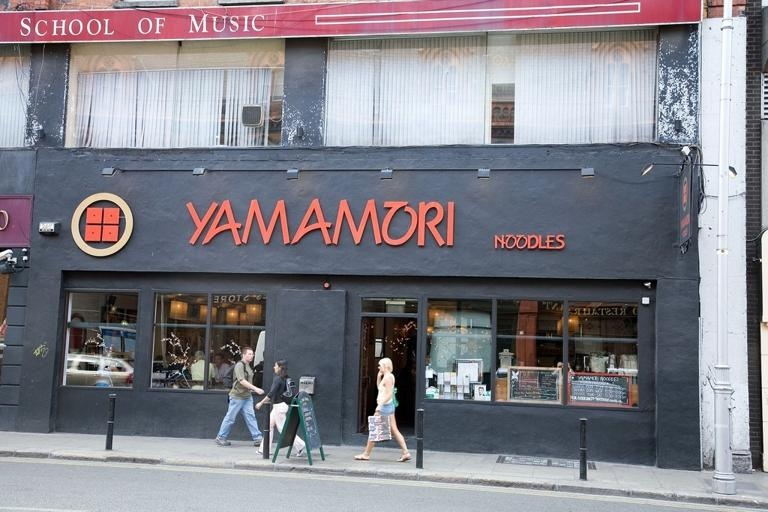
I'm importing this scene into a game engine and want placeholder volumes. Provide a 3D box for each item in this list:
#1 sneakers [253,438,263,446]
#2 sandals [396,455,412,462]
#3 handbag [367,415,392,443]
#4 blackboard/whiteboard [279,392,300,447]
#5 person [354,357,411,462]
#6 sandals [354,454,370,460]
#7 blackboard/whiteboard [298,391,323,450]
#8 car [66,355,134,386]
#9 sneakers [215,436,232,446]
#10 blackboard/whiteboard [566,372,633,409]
[{"bbox_3d":[-3.146,4.620,23.575,0.170,0.195,0.462,2,1,-10],"label":"sneakers"},{"bbox_3d":[0.463,4.772,22.633,0.302,0.199,0.333,2,-7,4],"label":"sandals"},{"bbox_3d":[-0.103,4.059,22.553,0.520,0.625,0.336,3,-8,-3],"label":"handbag"},{"bbox_3d":[-2.172,3.885,22.261,0.504,1.266,0.644,3,-8,1],"label":"blackboard/whiteboard"},{"bbox_3d":[0.032,3.679,23.040,1.254,2.434,1.343,3,-7,-1],"label":"person"},{"bbox_3d":[-0.548,4.774,22.682,0.294,0.099,0.148,2,-11,15],"label":"sandals"},{"bbox_3d":[-1.775,3.853,22.372,0.406,1.359,0.778,0,-8,21],"label":"blackboard/whiteboard"},{"bbox_3d":[-7.678,3.068,25.339,1.954,0.557,0.779,5,-2,5],"label":"car"},{"bbox_3d":[-4.076,4.648,23.916,0.468,0.168,0.160,6,1,-14],"label":"sneakers"},{"bbox_3d":[5.441,3.297,23.655,1.619,0.814,0.212,1,-8,13],"label":"blackboard/whiteboard"}]
